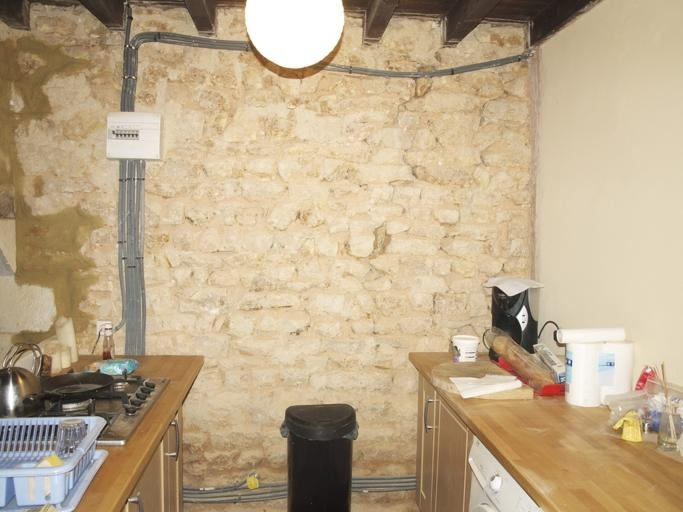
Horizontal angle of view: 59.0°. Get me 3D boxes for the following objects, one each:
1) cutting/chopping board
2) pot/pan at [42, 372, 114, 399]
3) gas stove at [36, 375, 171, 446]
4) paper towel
[{"bbox_3d":[0.727,0.643,3.157,0.395,0.107,0.403,4,4,0],"label":"cutting/chopping board"},{"bbox_3d":[-1.280,0.610,2.947,0.322,0.081,0.308,4,4,-6],"label":"pot/pan"},{"bbox_3d":[-1.095,0.664,2.812,0.392,0.573,0.078,18,37,-28],"label":"gas stove"},{"bbox_3d":[1.216,0.516,2.970,0.245,0.401,0.293,5,7,2],"label":"paper towel"}]
